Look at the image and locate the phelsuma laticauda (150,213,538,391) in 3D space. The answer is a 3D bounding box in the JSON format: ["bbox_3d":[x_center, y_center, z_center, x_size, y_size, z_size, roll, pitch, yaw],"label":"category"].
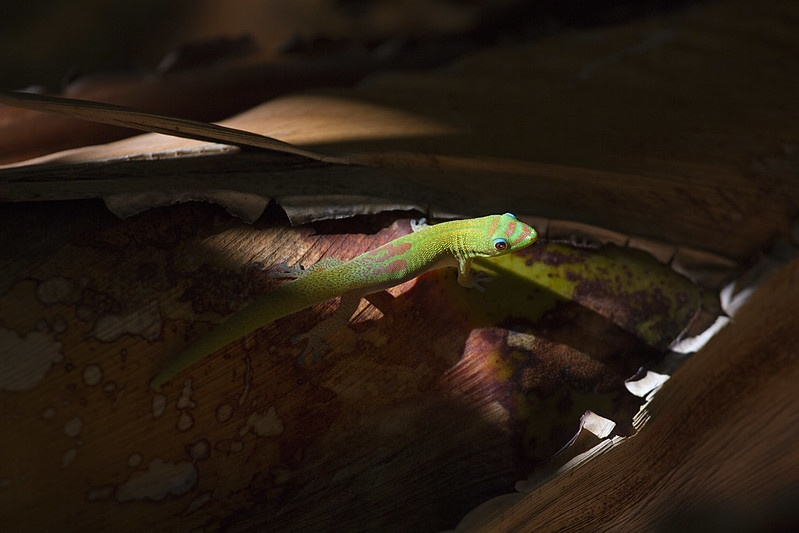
[{"bbox_3d":[-0.191,0.121,3.184,1.516,0.221,0.389,-26,61,-4],"label":"phelsuma laticauda"}]
